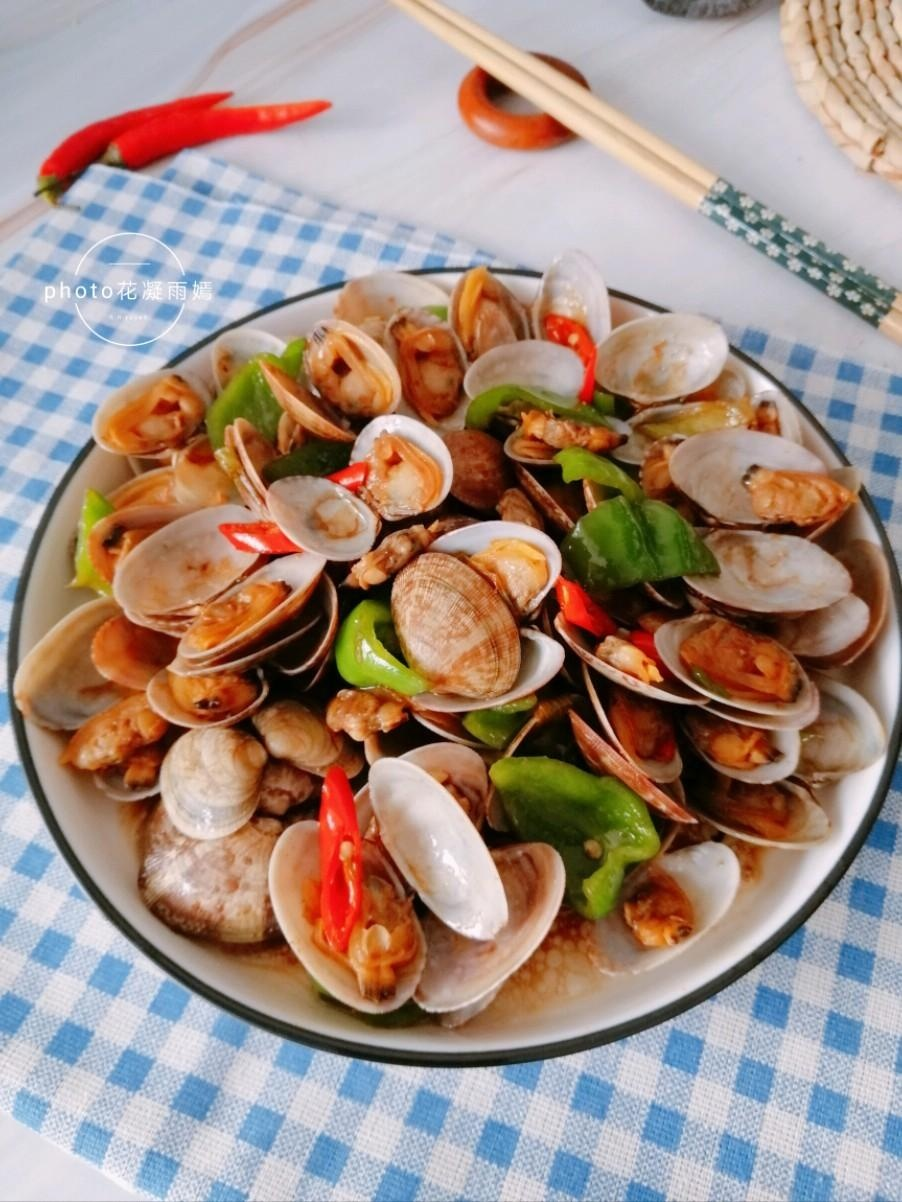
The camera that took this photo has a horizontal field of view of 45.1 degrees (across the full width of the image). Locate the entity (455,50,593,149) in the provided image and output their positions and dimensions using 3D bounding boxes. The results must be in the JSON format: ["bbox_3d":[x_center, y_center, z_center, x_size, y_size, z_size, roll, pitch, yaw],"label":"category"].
[{"bbox_3d":[0.142,-0.985,2.159,0.273,0.084,0.237,-2,50,-26],"label":"entity"}]

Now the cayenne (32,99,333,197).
[{"bbox_3d":[-0.497,-0.869,2.101,0.576,0.096,0.108,-16,32,-10],"label":"cayenne"}]
